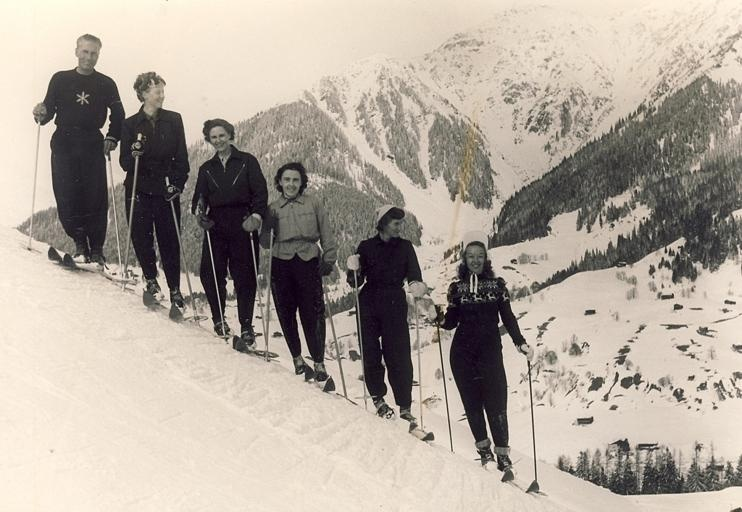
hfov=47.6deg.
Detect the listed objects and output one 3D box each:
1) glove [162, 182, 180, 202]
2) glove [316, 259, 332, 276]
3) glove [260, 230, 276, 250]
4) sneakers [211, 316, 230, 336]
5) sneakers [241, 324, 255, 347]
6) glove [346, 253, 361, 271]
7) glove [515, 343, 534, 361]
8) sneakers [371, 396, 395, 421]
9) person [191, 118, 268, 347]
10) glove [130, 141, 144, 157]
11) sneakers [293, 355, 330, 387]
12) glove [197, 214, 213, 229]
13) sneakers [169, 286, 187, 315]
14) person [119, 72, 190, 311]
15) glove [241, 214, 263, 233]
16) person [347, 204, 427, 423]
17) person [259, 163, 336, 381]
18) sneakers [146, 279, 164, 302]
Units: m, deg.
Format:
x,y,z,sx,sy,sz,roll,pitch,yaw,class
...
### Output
x,y,z,sx,sy,sz,roll,pitch,yaw,class
-2.264,-0.739,9.586,0.175,0.188,0.276,1,2,-15,glove
-0.498,0.112,9.066,0.137,0.139,0.142,-9,-18,37,glove
-1.124,-0.191,9.051,0.167,0.198,0.092,2,2,30,glove
-1.679,0.782,9.421,0.140,0.196,0.187,-7,-10,-16,sneakers
-1.351,0.860,9.282,0.112,0.301,0.121,-5,11,-15,sneakers
-0.195,0.060,9.341,0.060,0.178,0.134,-3,31,-28,glove
1.687,1.024,9.117,0.139,0.186,0.295,2,2,19,glove
0.134,1.677,9.318,0.118,0.144,0.332,-7,33,-14,sneakers
-1.545,-0.245,9.178,0.810,2.477,0.488,1,1,-5,person
-2.639,-1.223,9.482,0.117,0.168,0.160,-1,-14,-9,glove
-0.667,1.237,9.290,0.201,0.265,0.597,-28,30,-24,sneakers
-1.777,-0.373,9.054,0.172,0.156,0.107,1,1,-15,glove
-2.246,0.562,9.781,0.136,0.420,0.174,-2,29,-7,sneakers
-2.504,-0.725,9.680,0.763,2.753,0.595,1,1,-17,person
-1.259,-0.369,8.985,0.151,0.080,0.210,8,-41,-20,glove
0.160,0.608,9.330,0.821,2.359,0.360,1,1,3,person
-0.786,0.213,9.127,0.809,2.475,0.327,1,1,-4,person
-2.495,0.401,9.702,0.129,0.159,0.366,-11,30,0,sneakers
